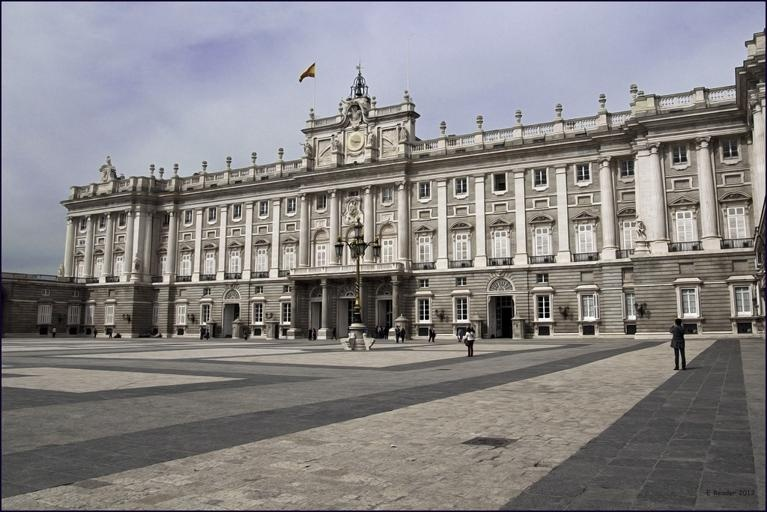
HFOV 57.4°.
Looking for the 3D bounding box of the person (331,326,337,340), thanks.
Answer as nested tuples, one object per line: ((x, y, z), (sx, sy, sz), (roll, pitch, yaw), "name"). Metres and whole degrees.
((-4.208, 6.620, 61.415), (0.429, 0.870, 0.716), (-4, -7, 0), "person")

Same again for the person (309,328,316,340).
((-6.309, 6.862, 62.019), (0.763, 1.234, 0.723), (5, -13, -28), "person")
